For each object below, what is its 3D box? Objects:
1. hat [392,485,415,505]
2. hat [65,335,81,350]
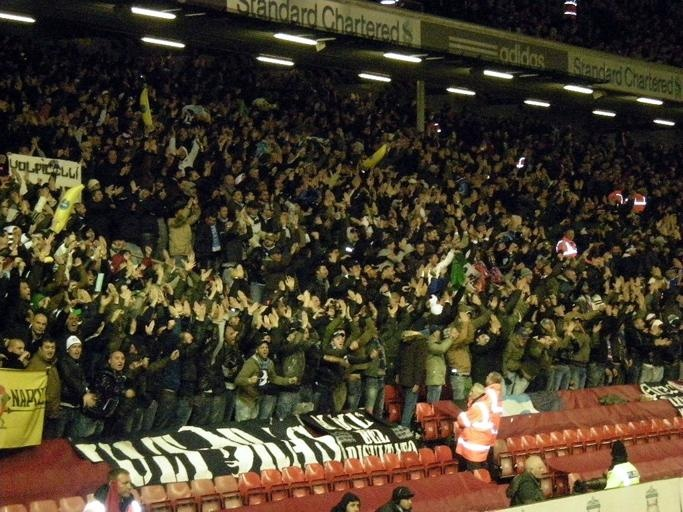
[{"bbox_3d":[0.767,3.098,8.533,0.297,0.227,0.243,-5,16,-3],"label":"hat"},{"bbox_3d":[-3.967,1.267,9.700,0.172,0.171,0.220,4,-28,-35],"label":"hat"}]
